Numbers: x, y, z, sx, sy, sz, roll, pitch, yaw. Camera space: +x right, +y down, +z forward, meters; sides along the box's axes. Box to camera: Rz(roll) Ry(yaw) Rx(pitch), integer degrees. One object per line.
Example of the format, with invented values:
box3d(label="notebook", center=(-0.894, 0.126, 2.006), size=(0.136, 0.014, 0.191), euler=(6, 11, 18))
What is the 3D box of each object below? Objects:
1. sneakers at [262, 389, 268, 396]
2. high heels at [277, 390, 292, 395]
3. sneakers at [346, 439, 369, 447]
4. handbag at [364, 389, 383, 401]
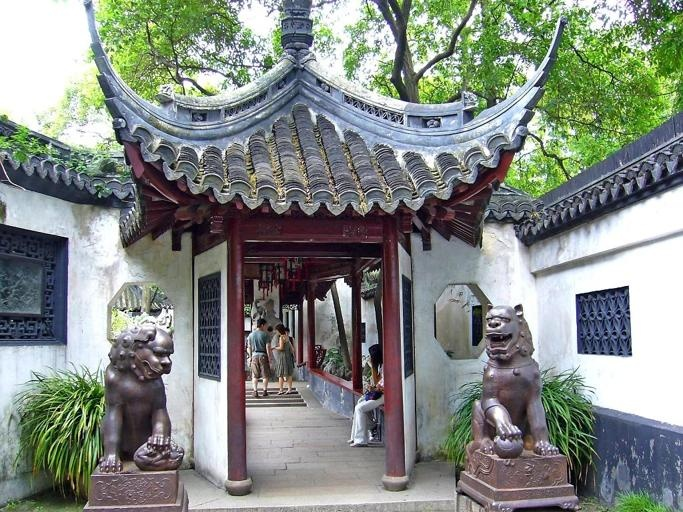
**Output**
box3d(label="sneakers", center=(-1.675, 3.015, 12.081), size=(0.089, 0.157, 0.216), euler=(1, -13, -8))
box3d(label="high heels", center=(-1.306, 3.125, 12.512), size=(0.137, 0.108, 0.270), euler=(-12, -23, 38))
box3d(label="sneakers", center=(0.250, 2.739, 8.037), size=(0.287, 0.144, 0.105), euler=(-3, -4, 9))
box3d(label="handbag", center=(0.474, 2.010, 7.898), size=(0.171, 0.082, 0.143), euler=(-10, -15, -18))
